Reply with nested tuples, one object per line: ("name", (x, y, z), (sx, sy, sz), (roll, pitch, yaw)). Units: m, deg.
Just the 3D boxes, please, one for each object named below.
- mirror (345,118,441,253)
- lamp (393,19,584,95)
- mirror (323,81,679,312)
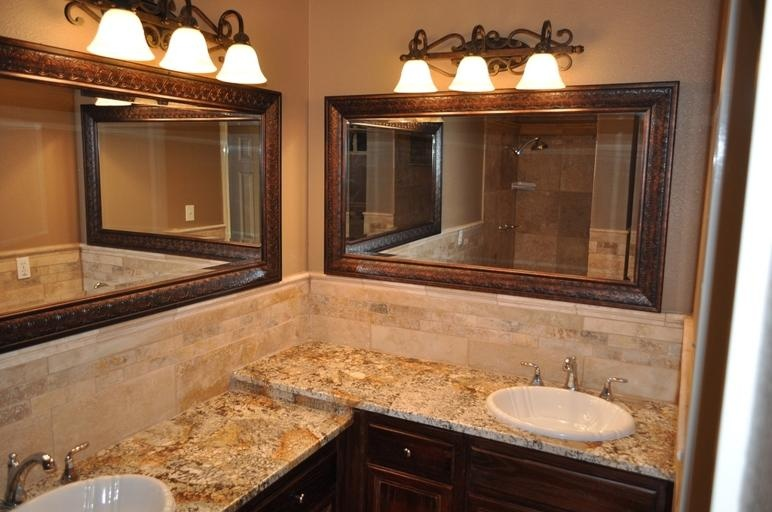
("mirror", (0.054, -0.413, 3.154), (0.769, 0.914, 0.048), (4, 10, 24))
("lamp", (0.479, -0.969, 2.748), (0.909, 0.340, 0.442), (4, 12, 17))
("mirror", (0.648, -0.325, 2.907), (1.411, 0.760, 0.061), (2, 4, 22))
